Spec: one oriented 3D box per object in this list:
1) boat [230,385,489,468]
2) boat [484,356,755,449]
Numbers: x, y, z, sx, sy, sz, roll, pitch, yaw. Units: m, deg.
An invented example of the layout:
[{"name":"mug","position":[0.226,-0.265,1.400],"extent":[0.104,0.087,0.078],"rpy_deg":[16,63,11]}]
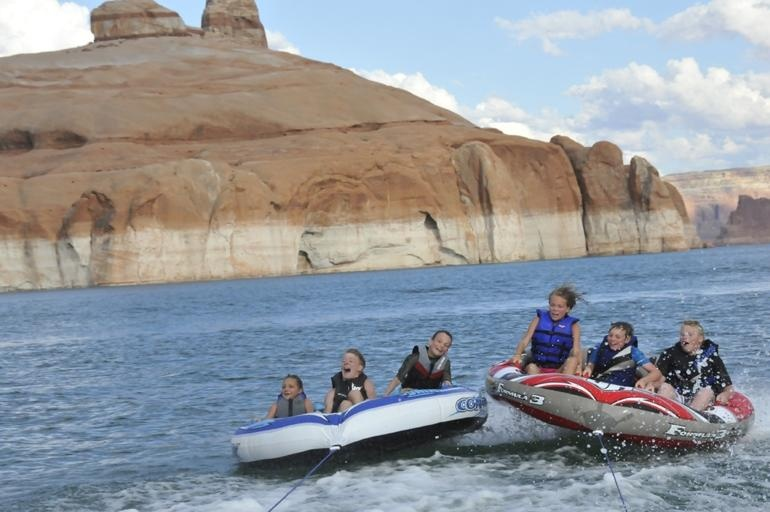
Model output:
[{"name":"boat","position":[-2.550,11.220,78.418],"extent":[19.787,2.926,10.077],"rpy_deg":[-8,-8,3]},{"name":"boat","position":[14.289,9.780,81.038],"extent":[20.183,4.496,15.481],"rpy_deg":[6,4,-29]}]
